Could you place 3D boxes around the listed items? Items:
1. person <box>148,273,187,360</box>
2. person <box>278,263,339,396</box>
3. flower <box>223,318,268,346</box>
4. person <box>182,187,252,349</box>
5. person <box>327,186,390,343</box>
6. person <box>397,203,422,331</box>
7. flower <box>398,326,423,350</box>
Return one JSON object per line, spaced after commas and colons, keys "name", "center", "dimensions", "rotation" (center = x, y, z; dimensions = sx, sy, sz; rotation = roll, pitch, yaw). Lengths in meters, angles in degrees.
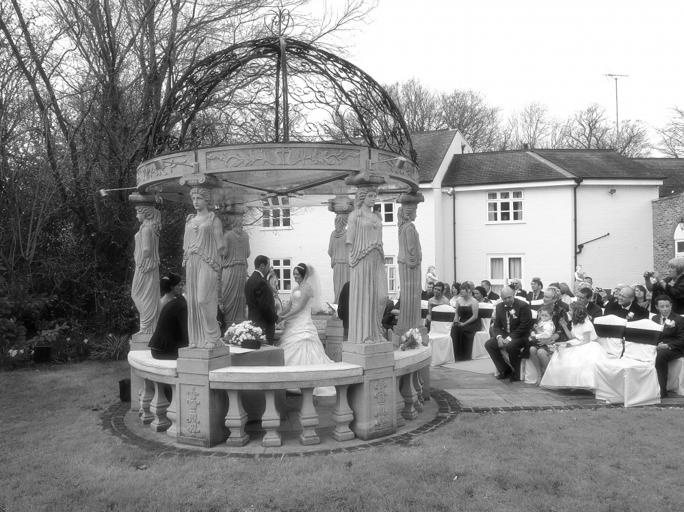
{"name": "person", "center": [-3.090, 1.080, 12.761], "dimensions": [0.656, 1.430, 1.144], "rotation": [-4, 8, -16]}
{"name": "person", "center": [-0.717, 1.096, 13.417], "dimensions": [0.951, 1.884, 1.101], "rotation": [0, 8, 8]}
{"name": "flower", "center": [-1.739, 1.369, 12.811], "dimensions": [0.517, 0.403, 0.555], "rotation": [-3, -4, 13]}
{"name": "person", "center": [-2.282, 0.177, 11.946], "dimensions": [0.665, 2.629, 0.737], "rotation": [-4, 8, -18]}
{"name": "person", "center": [0.425, 0.166, 12.117], "dimensions": [0.708, 2.616, 0.623], "rotation": [-3, 8, -11]}
{"name": "person", "center": [1.282, 0.252, 13.584], "dimensions": [0.538, 2.452, 0.532], "rotation": [-4, 8, -19]}
{"name": "flower", "center": [1.354, 1.551, 13.420], "dimensions": [0.333, 0.388, 0.754], "rotation": [4, 10, 33]}
